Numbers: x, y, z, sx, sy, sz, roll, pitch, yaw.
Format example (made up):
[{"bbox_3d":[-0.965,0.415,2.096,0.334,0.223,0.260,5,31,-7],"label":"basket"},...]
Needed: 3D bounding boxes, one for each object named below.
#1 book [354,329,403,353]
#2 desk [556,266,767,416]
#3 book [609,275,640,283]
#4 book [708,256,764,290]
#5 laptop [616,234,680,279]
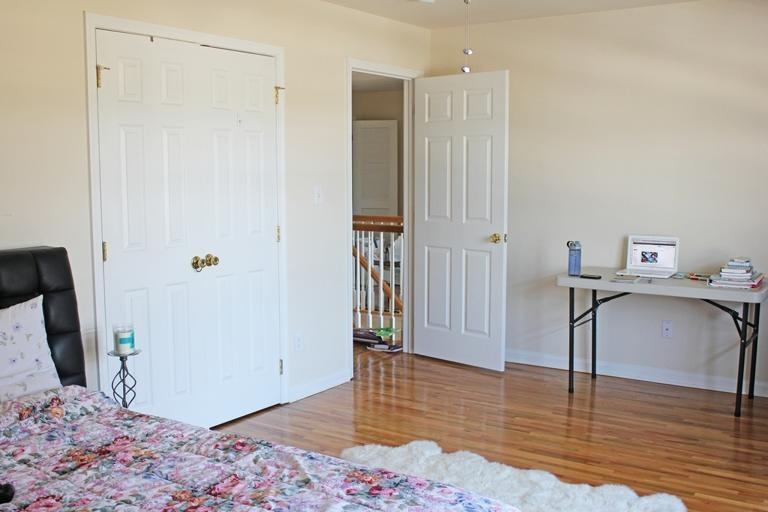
[{"bbox_3d":[-0.068,0.950,6.206,0.364,0.100,0.290,9,8,36],"label":"book"},{"bbox_3d":[2.505,0.751,4.841,1.257,0.765,0.464,4,6,36],"label":"desk"},{"bbox_3d":[2.028,0.187,4.662,0.203,0.035,0.193,4,11,25],"label":"book"},{"bbox_3d":[2.861,0.129,4.428,0.541,0.201,0.288,-2,11,-8],"label":"book"},{"bbox_3d":[2.357,-0.068,4.911,0.510,0.341,0.420,5,8,36],"label":"laptop"}]
